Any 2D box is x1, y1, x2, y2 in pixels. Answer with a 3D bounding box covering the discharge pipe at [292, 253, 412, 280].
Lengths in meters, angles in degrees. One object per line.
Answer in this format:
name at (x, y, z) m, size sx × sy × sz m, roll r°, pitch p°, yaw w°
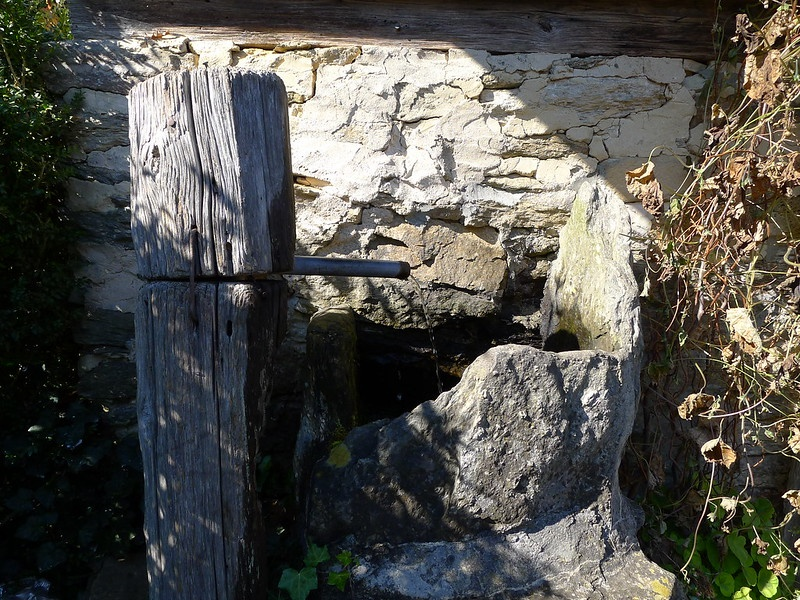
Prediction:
discharge pipe at (-0.217, -0.156, 3.946) m, size 0.551 × 0.084 × 0.098 m, roll -1°, pitch -32°, yaw -27°
